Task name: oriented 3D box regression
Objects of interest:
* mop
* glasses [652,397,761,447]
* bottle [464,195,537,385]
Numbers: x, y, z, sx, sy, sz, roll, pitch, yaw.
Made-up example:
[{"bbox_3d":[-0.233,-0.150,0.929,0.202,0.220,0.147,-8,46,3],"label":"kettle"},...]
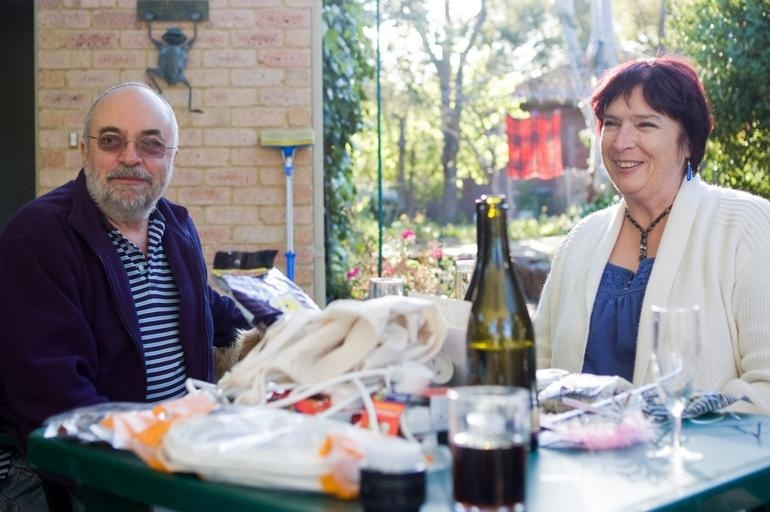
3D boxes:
[{"bbox_3d":[-0.550,-0.302,4.646,0.305,0.871,0.143,-2,3,-10],"label":"mop"},{"bbox_3d":[0.860,0.434,2.229,0.224,0.114,0.225,-2,4,23],"label":"glasses"},{"bbox_3d":[0.305,0.094,2.172,0.153,0.535,0.160,0,-1,0],"label":"bottle"}]
